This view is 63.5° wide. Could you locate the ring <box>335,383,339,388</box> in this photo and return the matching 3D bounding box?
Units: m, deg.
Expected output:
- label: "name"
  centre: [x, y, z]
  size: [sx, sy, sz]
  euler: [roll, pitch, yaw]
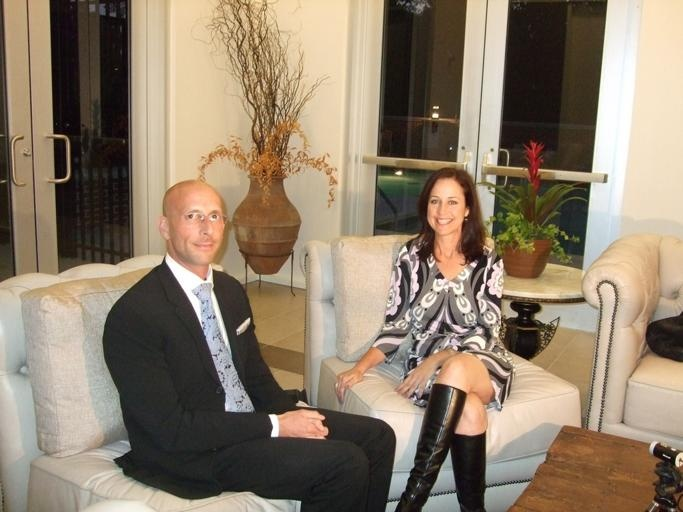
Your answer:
- label: "ring"
  centre: [-0.018, 0.579, 2.475]
  size: [0.006, 0.016, 0.015]
  euler: [3, 4, -38]
